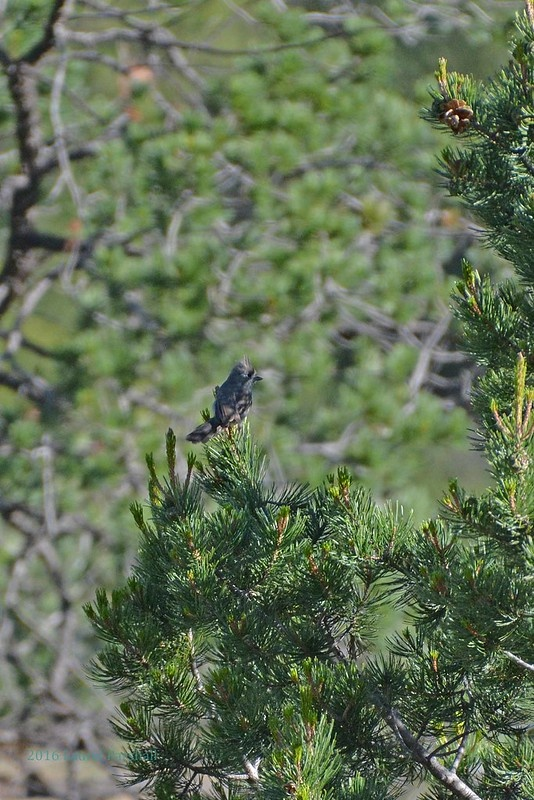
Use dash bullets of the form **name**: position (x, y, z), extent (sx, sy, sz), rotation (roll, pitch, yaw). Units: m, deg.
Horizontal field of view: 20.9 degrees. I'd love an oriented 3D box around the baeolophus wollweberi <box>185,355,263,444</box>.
- **baeolophus wollweberi**: position (-0.097, 0.004, 3.460), extent (0.084, 0.171, 0.250), rotation (17, 34, 21)
